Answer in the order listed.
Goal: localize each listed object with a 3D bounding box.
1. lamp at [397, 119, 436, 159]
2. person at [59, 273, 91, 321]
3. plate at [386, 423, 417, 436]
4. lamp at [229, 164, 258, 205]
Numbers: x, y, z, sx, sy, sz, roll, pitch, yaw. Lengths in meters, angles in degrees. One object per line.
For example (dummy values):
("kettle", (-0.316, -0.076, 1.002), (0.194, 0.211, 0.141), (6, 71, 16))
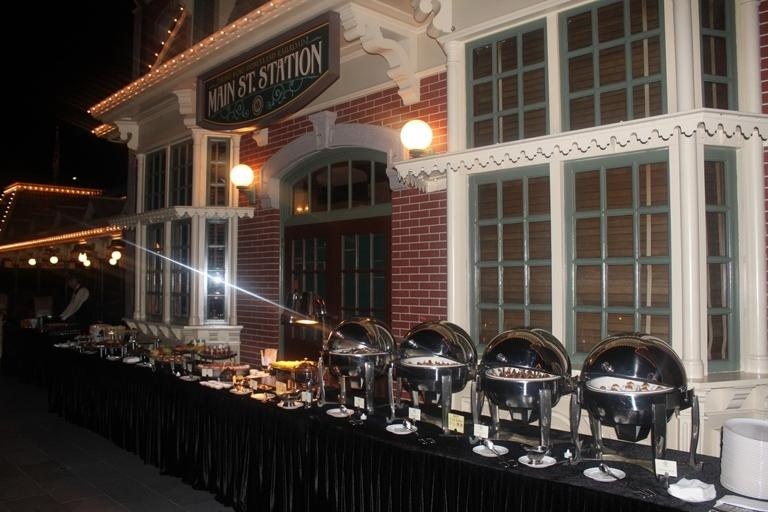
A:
("lamp", (0.367, -1.337, 7.347), (0.480, 0.518, 0.457), (1, 1, 3))
("person", (-6.417, 0.865, 12.947), (0.603, 0.799, 0.537), (0, 12, -21))
("plate", (0.152, 1.567, 5.671), (0.278, 0.103, 0.196), (-2, -10, 26))
("lamp", (-2.109, -1.054, 9.290), (0.350, 0.604, 0.400), (4, 3, 43))
